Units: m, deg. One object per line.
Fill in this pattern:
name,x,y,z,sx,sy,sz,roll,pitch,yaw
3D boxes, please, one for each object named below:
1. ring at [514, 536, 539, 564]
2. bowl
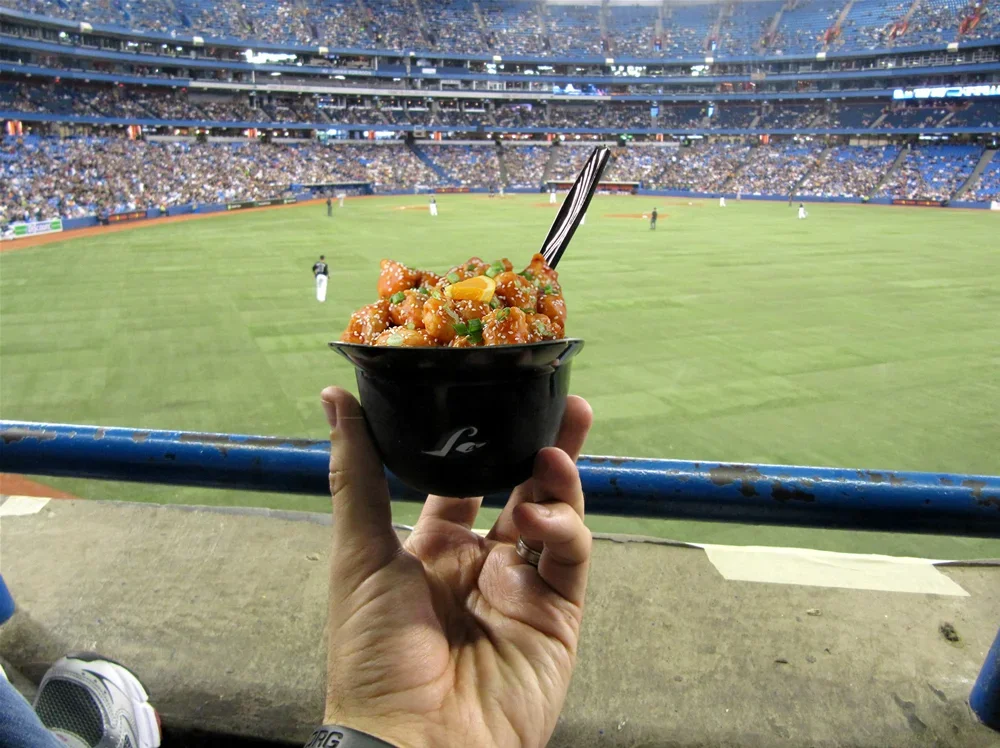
ring,0.066,0.442,1.750,0.063,0.054,0.023,35,84,15
bowl,-0.104,0.119,1.693,0.555,0.276,0.548,-2,-1,0
